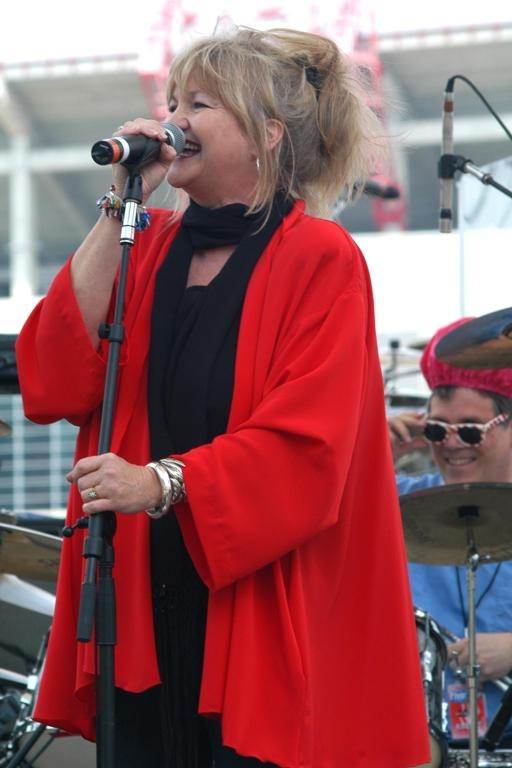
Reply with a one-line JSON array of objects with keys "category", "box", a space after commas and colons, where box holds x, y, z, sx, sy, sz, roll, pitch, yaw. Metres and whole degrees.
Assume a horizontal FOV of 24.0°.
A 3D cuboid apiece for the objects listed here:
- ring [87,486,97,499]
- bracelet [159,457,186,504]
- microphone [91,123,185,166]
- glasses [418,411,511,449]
[{"category": "ring", "box": [-0.268, 0.175, 1.944, 0.018, 0.016, 0.005, 2, 1, 27]}, {"category": "bracelet", "box": [-0.135, 0.160, 1.990, 0.032, 0.064, 0.052, -5, -15, -16]}, {"category": "microphone", "box": [-0.210, -0.442, 2.145, 0.073, 0.068, 0.194, 8, 13, 35]}, {"category": "glasses", "box": [0.604, 0.132, 3.576, 0.263, 0.092, 0.128, 2, 12, 27]}]
